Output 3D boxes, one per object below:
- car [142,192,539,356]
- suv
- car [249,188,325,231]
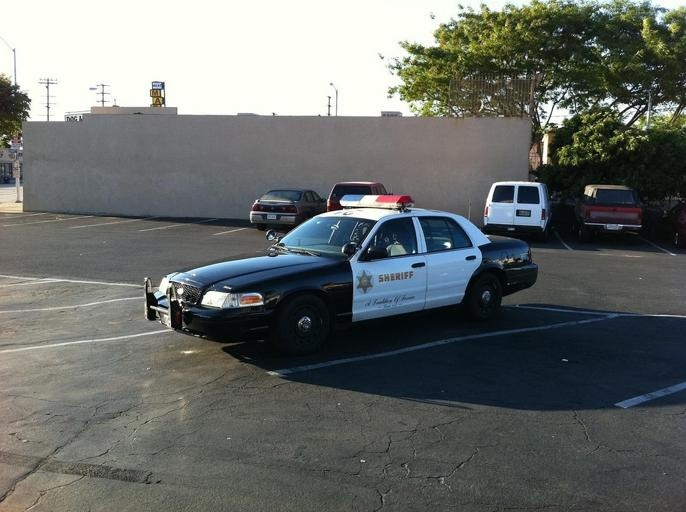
[{"bbox_3d":[0.185,0.259,9.158,5.295,1.734,1.041,-6,12,-33],"label":"car"},{"bbox_3d":[9.313,-1.529,22.455,1.811,1.810,2.114,3,11,15],"label":"suv"},{"bbox_3d":[-2.041,-1.672,23.718,1.374,0.947,2.876,2,13,19],"label":"car"}]
